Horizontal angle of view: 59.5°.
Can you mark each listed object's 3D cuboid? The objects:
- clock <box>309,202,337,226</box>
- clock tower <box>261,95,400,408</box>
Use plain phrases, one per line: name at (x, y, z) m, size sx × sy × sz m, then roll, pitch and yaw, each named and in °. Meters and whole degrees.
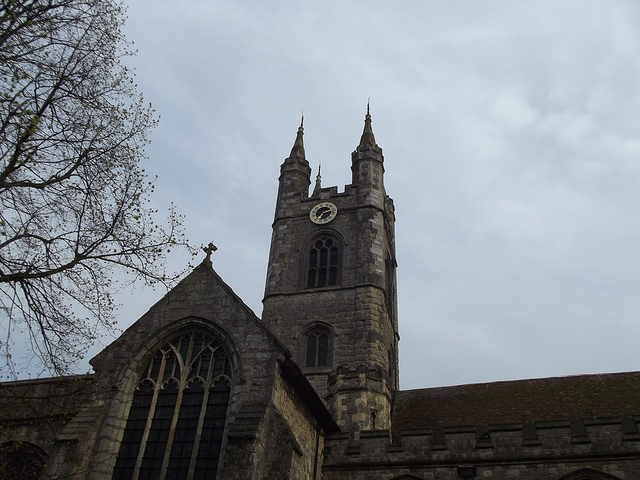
clock at (0.194, -1.510, 33.750) m, size 1.547 × 1.594 × 0.183 m, roll -6°, pitch -44°, yaw 7°
clock tower at (0.649, 2.724, 28.691) m, size 6.302 × 18.225 × 5.922 m, roll -6°, pitch -41°, yaw 11°
